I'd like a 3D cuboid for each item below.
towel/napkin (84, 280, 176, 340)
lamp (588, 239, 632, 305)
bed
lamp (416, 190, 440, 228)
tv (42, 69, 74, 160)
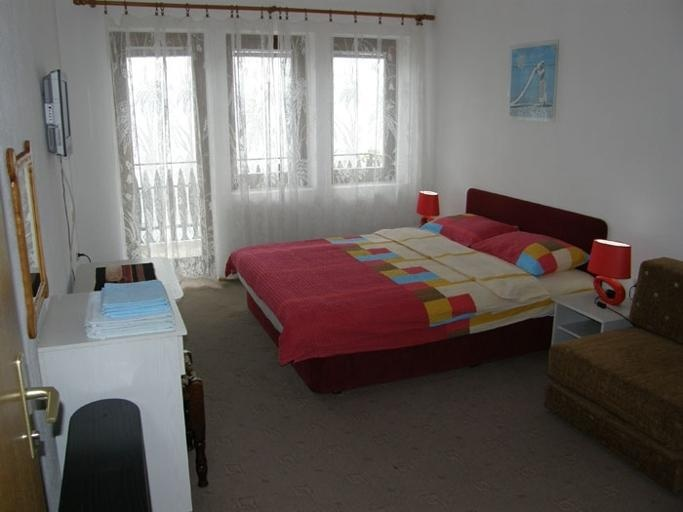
[{"bbox_3d":[-1.057,0.277,2.448,0.312,0.103,0.321,-4,19,-22],"label":"towel/napkin"},{"bbox_3d":[2.120,0.134,3.895,0.283,0.519,0.329,-10,15,-17],"label":"lamp"},{"bbox_3d":[0.677,0.271,4.133,2.253,0.969,1.925,-9,19,-24],"label":"bed"},{"bbox_3d":[1.067,-0.558,6.047,0.259,0.417,0.265,-5,20,-14],"label":"lamp"},{"bbox_3d":[-2.015,-1.009,3.483,0.161,0.621,0.577,-8,15,-27],"label":"tv"}]
